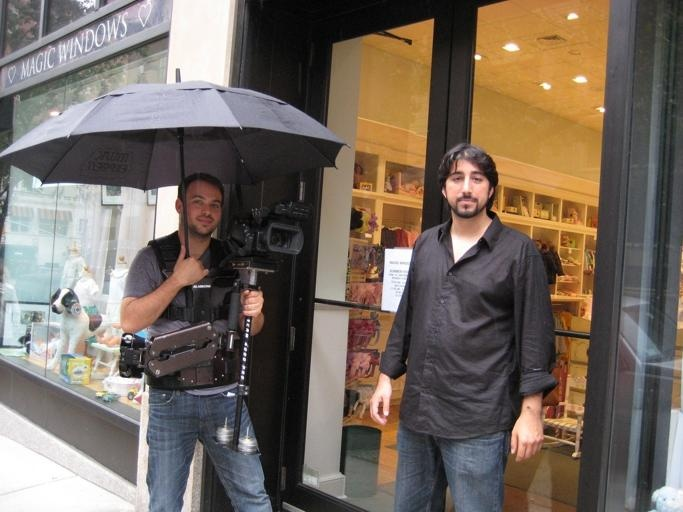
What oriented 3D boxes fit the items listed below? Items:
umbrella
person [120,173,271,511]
[{"bbox_3d":[-0.808,-0.436,2.725,1.184,0.871,1.201,-3,4,-4],"label":"umbrella"},{"bbox_3d":[-0.694,0.418,2.629,0.732,1.668,0.370,2,-5,-8],"label":"person"}]
